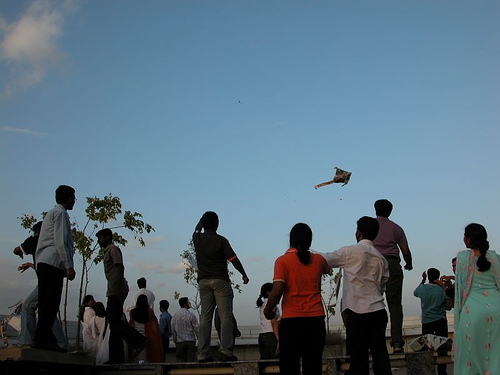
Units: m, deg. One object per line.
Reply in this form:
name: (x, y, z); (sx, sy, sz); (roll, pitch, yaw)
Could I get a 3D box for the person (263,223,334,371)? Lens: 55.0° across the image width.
person: (0.624, 1.382, 6.171); (0.832, 1.839, 0.366); (-2, -15, -1)

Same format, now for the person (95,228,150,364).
person: (-2.379, 1.989, 8.885); (0.820, 2.409, 0.878); (-6, -15, 14)

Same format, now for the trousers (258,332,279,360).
trousers: (0.400, 3.444, 10.461); (0.323, 0.577, 0.873); (0, -15, -7)

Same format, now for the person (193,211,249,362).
person: (-0.539, 1.626, 8.092); (0.901, 2.474, 0.377); (-8, -16, 23)

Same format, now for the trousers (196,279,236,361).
trousers: (-0.532, 2.171, 7.980); (0.590, 1.288, 0.554); (3, -15, -17)

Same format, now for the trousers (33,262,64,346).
trousers: (-3.028, 1.658, 7.423); (0.351, 1.319, 0.456); (8, 20, -5)

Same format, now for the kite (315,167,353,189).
kite: (1.482, -0.156, 7.871); (0.277, 0.184, 0.285); (-15, 25, -23)

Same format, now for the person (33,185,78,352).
person: (-2.992, 1.207, 7.429); (0.560, 2.505, 0.440); (5, -16, -25)
